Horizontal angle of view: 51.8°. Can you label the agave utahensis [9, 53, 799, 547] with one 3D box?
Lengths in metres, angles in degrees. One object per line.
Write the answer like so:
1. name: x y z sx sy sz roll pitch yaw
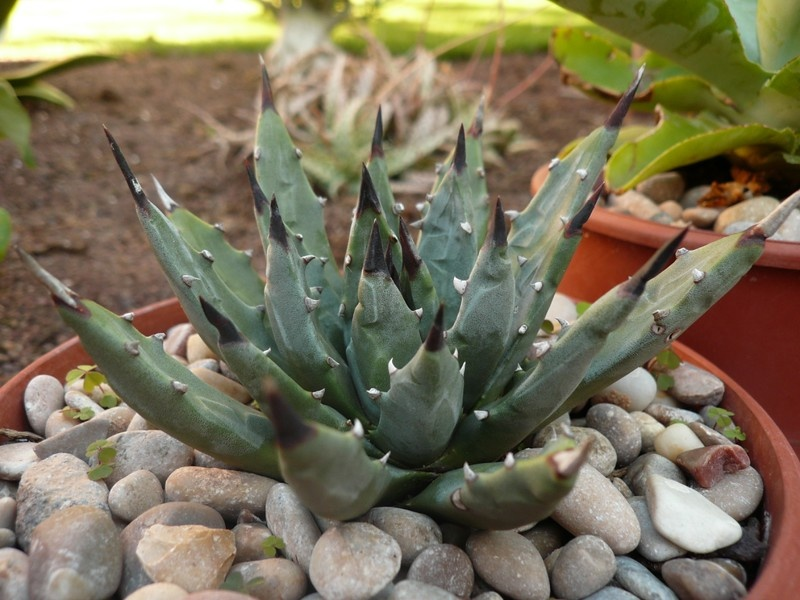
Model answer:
1. agave utahensis: -0.008 -0.023 1.927 1.206 0.917 1.172 30 44 29
